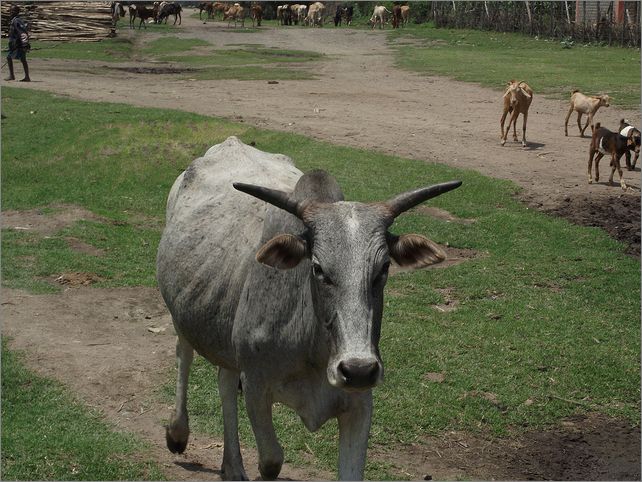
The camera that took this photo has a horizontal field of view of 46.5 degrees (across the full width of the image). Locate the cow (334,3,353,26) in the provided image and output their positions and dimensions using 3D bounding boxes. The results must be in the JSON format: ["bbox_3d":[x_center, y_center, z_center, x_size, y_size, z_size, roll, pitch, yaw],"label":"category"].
[{"bbox_3d":[2.060,-19.790,65.283,1.419,1.935,2.514,2,12,-2],"label":"cow"}]

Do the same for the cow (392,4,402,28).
[{"bbox_3d":[6.161,-17.933,59.560,0.698,1.819,2.323,4,12,5],"label":"cow"}]

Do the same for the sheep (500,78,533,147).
[{"bbox_3d":[6.068,-4.003,23.194,0.842,1.969,2.226,6,13,13],"label":"sheep"}]

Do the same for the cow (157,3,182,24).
[{"bbox_3d":[-11.886,-18.219,59.890,1.435,1.767,2.224,-10,17,-44],"label":"cow"}]

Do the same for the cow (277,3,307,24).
[{"bbox_3d":[-2.957,-20.298,67.266,1.505,1.918,3.785,-7,9,-32],"label":"cow"}]
